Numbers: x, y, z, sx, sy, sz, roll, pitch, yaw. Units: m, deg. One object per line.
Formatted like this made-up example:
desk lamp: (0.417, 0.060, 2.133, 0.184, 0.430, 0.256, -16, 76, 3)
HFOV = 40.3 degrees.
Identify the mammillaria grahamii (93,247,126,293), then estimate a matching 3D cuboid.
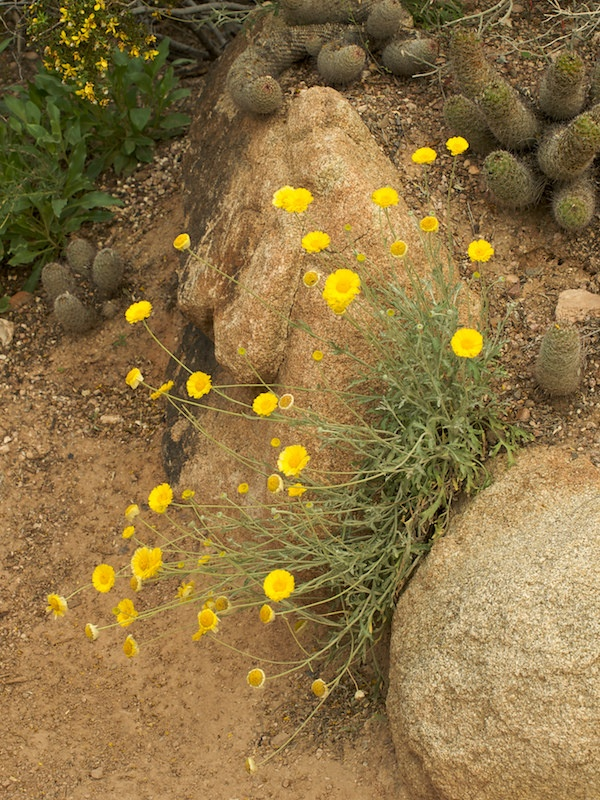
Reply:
mammillaria grahamii: (-0.949, -0.639, 4.057, 0.135, 0.205, 0.121, -15, 66, -14)

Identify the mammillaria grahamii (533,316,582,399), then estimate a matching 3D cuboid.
mammillaria grahamii: (0.804, -0.120, 2.539, 0.153, 0.247, 0.149, -28, 52, -9)

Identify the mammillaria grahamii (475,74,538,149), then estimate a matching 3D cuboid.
mammillaria grahamii: (0.715, -0.996, 2.849, 0.140, 0.351, 0.127, -41, 66, 14)

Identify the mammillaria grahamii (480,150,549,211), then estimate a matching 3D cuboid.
mammillaria grahamii: (0.751, -0.758, 2.827, 0.109, 0.245, 0.123, 39, 104, 12)

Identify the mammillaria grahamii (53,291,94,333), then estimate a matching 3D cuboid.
mammillaria grahamii: (-1.123, -0.428, 4.029, 0.112, 0.256, 0.114, 32, 87, 1)
